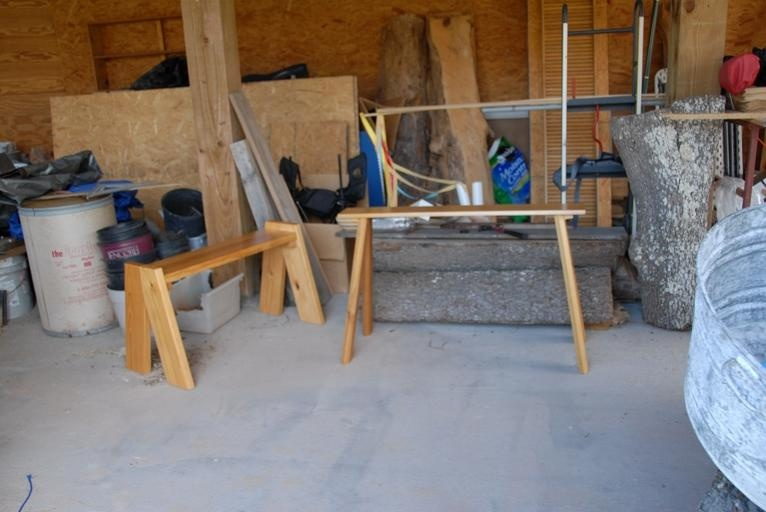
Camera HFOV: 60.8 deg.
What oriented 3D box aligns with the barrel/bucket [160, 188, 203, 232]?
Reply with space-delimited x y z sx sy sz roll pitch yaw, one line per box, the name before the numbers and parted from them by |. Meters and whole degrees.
barrel/bucket | -1.805 -0.412 5.902 0.272 0.277 0.265 6 45 -6
